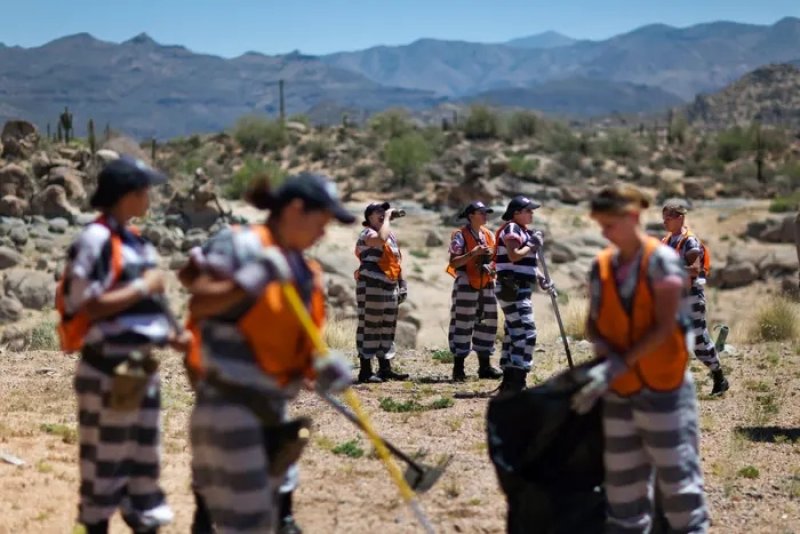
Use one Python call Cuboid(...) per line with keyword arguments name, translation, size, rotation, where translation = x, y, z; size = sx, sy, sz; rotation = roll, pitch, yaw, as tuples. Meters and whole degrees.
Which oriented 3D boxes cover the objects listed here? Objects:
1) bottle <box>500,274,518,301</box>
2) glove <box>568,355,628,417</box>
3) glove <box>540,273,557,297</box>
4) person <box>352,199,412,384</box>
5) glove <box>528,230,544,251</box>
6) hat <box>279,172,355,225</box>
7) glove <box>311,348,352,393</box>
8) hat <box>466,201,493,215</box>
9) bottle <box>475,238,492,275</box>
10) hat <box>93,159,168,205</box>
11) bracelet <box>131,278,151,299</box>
Cuboid(name="bottle", translation=(1.664, 0.315, 15.679), size=(0.282, 0.412, 0.063), rotation=(2, 3, 33))
Cuboid(name="glove", translation=(2.317, 1.395, 11.875), size=(0.324, 0.805, 0.453), rotation=(23, 21, -35))
Cuboid(name="glove", translation=(2.375, 0.243, 16.004), size=(0.137, 0.345, 0.258), rotation=(-40, -10, -10))
Cuboid(name="person", translation=(-0.306, 0.422, 16.757), size=(0.868, 2.969, 1.106), rotation=(1, 2, 1))
Cuboid(name="glove", translation=(2.098, -0.419, 15.861), size=(0.190, 0.301, 0.631), rotation=(1, 2, 14))
Cuboid(name="hat", translation=(-0.938, -0.865, 11.554), size=(0.782, 0.295, 0.509), rotation=(28, 5, -7))
Cuboid(name="glove", translation=(-0.772, 1.170, 11.469), size=(0.428, 0.441, 0.445), rotation=(0, -3, -13))
Cuboid(name="hat", translation=(1.236, -0.945, 16.265), size=(0.349, 0.198, 0.234), rotation=(-6, 0, 7))
Cuboid(name="bottle", translation=(1.350, -0.122, 16.334), size=(0.166, 0.401, 0.292), rotation=(21, 14, 30))
Cuboid(name="hat", translation=(-3.250, -0.969, 12.111), size=(0.703, 0.382, 0.474), rotation=(-28, 29, -14))
Cuboid(name="bracelet", translation=(-2.999, 0.245, 11.766), size=(0.175, 0.212, 0.088), rotation=(0, 2, -22))
